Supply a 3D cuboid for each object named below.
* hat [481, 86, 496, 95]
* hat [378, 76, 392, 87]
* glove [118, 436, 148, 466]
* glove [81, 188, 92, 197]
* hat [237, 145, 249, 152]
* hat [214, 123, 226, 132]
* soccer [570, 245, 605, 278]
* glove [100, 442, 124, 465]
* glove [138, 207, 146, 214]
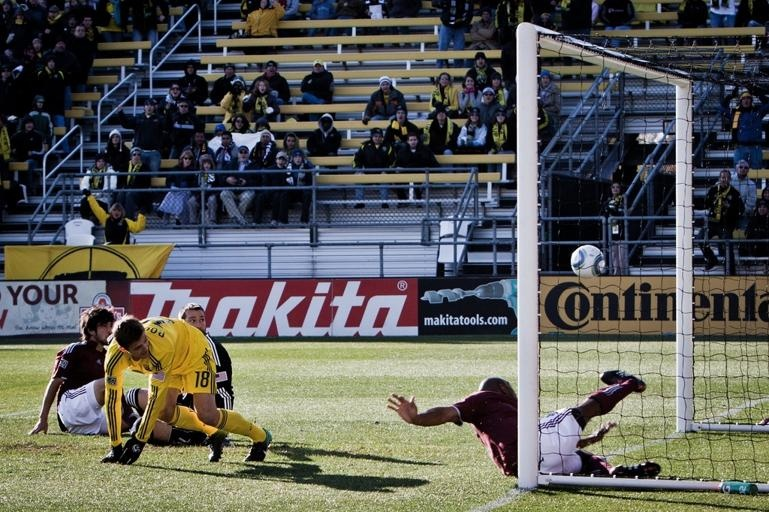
[{"bbox_3d":[2.526,-3.992,41.967,0.268,0.184,0.351,0,-1,2],"label":"hat"},{"bbox_3d":[-0.005,-4.262,43.121,0.282,0.294,0.378,-3,16,3],"label":"hat"},{"bbox_3d":[-4.461,3.382,30.635,0.340,0.557,0.213,36,8,-2],"label":"glove"},{"bbox_3d":[-7.020,-1.508,40.822,0.157,0.154,0.199,2,9,0],"label":"glove"},{"bbox_3d":[-3.432,-2.619,41.839,0.219,0.161,0.361,1,-14,-2],"label":"hat"},{"bbox_3d":[-4.037,-3.137,42.551,0.232,0.212,0.329,1,-11,-7],"label":"hat"},{"bbox_3d":[3.904,0.085,33.096,0.557,0.623,0.592,4,-31,-7],"label":"soccer"},{"bbox_3d":[-4.799,3.481,30.765,0.542,0.377,0.204,6,-4,7],"label":"glove"},{"bbox_3d":[-5.824,-1.116,41.855,0.129,0.141,0.176,17,-22,-40],"label":"glove"}]
